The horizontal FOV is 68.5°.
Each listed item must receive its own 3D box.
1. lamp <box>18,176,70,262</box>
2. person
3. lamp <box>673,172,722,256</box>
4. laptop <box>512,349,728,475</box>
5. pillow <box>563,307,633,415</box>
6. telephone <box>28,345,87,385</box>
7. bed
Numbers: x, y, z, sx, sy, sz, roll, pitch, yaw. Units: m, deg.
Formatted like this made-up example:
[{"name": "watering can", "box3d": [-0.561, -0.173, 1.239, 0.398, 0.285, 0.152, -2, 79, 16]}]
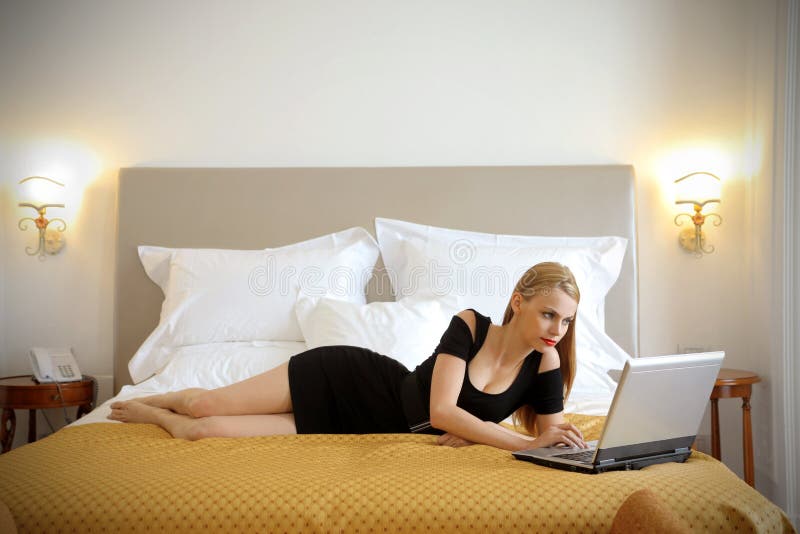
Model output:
[{"name": "lamp", "box3d": [-2.264, -0.311, 3.723, 0.074, 0.538, 0.279, 19, 18, 38]}, {"name": "person", "box3d": [-0.193, 0.363, 2.676, 1.864, 0.702, 0.870, -6, -16, 19]}, {"name": "lamp", "box3d": [1.820, -0.311, 3.584, 0.251, 0.519, 0.112, 0, -2, 17]}, {"name": "laptop", "box3d": [0.874, 0.523, 2.164, 0.511, 0.389, 0.490, 5, -7, -33]}, {"name": "pillow", "box3d": [1.078, 0.527, 3.230, 0.427, 0.544, 0.152, 22, -13, -19]}, {"name": "telephone", "box3d": [-2.049, 0.552, 3.470, 0.309, 0.116, 0.350, 20, 13, -34]}, {"name": "bed", "box3d": [0.159, 0.352, 2.882, 2.213, 1.733, 1.062, 2, 6, -3]}]
